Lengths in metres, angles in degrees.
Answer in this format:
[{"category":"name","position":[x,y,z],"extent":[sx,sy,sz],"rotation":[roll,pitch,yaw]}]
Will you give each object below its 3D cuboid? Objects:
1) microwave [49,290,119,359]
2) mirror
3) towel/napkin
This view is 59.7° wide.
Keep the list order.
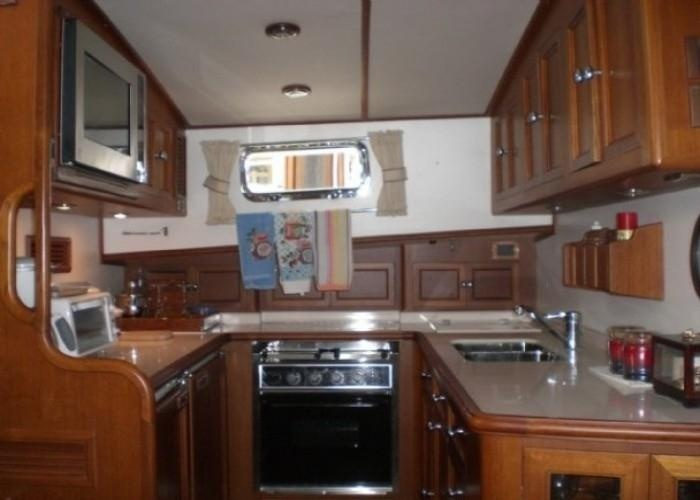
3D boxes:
[{"category":"microwave","position":[-1.203,0.303,2.786],"extent":[0.235,0.238,0.335],"rotation":[0,4,-3]},{"category":"mirror","position":[-0.286,-0.501,3.850],"extent":[0.812,0.369,0.036],"rotation":[-1,-2,3]},{"category":"towel/napkin","position":[-0.327,0.010,3.784],"extent":[0.534,0.384,0.044],"rotation":[-2,-2,0]}]
